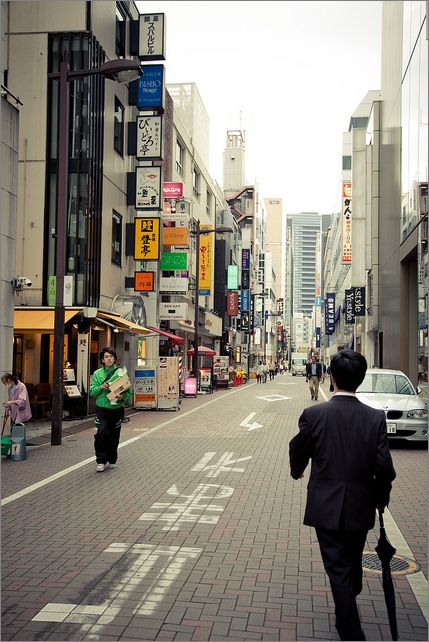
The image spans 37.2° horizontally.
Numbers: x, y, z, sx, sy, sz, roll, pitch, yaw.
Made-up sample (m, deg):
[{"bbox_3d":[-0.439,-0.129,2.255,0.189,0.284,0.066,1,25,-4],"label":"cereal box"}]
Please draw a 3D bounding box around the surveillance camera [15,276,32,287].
[{"bbox_3d":[-3.964,-0.750,13.056,0.304,0.290,0.571,-2,-4,-15],"label":"surveillance camera"}]

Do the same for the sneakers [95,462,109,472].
[{"bbox_3d":[-1.622,2.154,9.110,0.075,0.143,0.281,0,-13,3],"label":"sneakers"}]

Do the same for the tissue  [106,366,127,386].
[{"bbox_3d":[-1.345,0.861,9.051,0.202,0.112,0.290,-36,14,9],"label":"tissue "}]

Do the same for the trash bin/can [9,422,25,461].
[{"bbox_3d":[-3.191,1.995,10.229,0.252,0.592,0.275,-1,-3,-10],"label":"trash bin/can"}]

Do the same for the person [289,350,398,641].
[{"bbox_3d":[0.659,0.916,3.255,0.519,1.497,0.407,-2,-3,7],"label":"person"}]

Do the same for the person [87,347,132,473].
[{"bbox_3d":[-1.515,1.306,9.106,0.516,1.761,0.664,-1,-3,-12],"label":"person"}]
